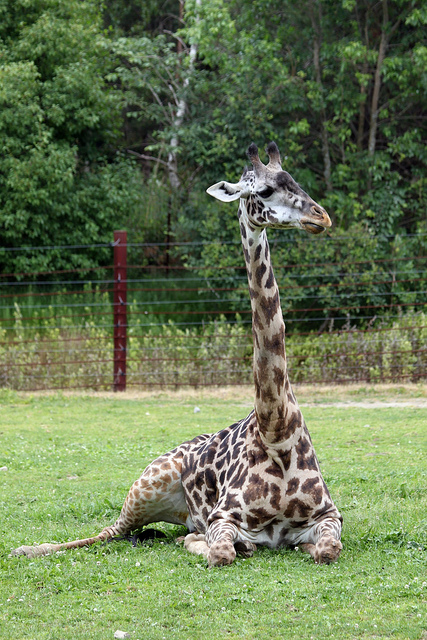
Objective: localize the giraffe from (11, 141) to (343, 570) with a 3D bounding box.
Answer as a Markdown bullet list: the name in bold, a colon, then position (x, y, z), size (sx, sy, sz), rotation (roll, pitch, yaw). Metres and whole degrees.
- **giraffe**: position (0.175, 0.215, 8.623), size (1.451, 2.682, 0.728), rotation (-1, 1, 21)
